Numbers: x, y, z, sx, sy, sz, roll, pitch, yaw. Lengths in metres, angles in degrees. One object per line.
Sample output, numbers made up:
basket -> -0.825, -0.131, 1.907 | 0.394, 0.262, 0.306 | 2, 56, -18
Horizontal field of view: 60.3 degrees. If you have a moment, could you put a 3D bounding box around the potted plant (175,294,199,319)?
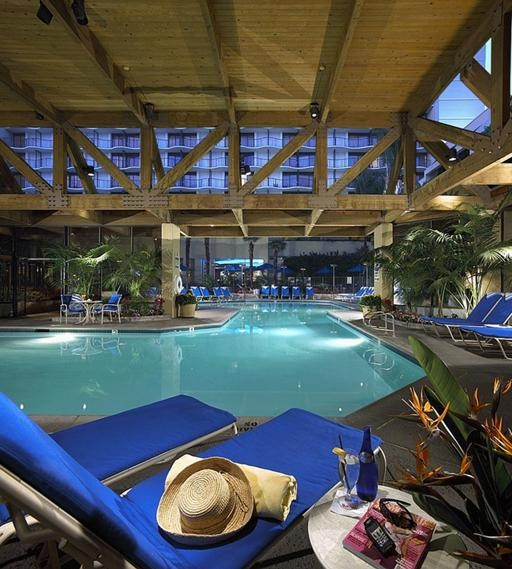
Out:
potted plant -> -1.887, 0.582, 12.052 | 0.650, 0.562, 0.604 | -1, -7, 3

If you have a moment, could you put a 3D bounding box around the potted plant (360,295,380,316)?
potted plant -> 2.840, 0.494, 10.927 | 0.495, 0.450, 0.431 | -3, -1, 15

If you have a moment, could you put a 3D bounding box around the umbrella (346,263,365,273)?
umbrella -> 5.058, -0.802, 21.671 | 0.800, 0.356, 0.774 | 1, -2, -4

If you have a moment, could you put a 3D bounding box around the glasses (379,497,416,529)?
glasses -> 0.421, 0.682, 1.340 | 0.100, 0.035, 0.077 | 28, 8, 32
